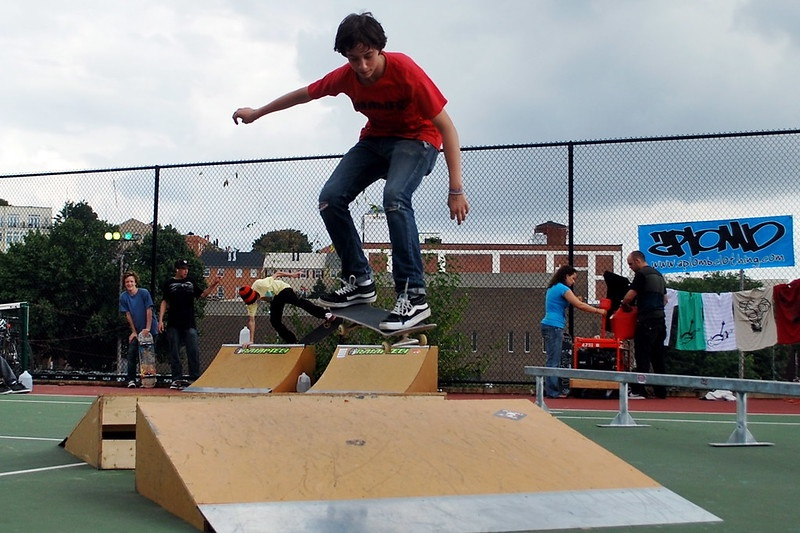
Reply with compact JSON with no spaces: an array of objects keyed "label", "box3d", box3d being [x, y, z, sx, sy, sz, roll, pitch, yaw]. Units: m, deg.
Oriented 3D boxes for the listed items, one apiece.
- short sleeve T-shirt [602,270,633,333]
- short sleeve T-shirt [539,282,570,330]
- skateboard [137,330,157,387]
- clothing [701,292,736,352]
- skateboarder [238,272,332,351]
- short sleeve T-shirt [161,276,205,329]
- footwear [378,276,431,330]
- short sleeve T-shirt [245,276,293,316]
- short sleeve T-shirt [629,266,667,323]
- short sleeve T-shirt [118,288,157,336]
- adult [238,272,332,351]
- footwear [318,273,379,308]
[{"label":"short sleeve T-shirt","box3d":[3.651,0.464,13.354,0.468,0.653,0.172,16,22,36]},{"label":"short sleeve T-shirt","box3d":[2.529,0.472,12.663,0.408,0.440,0.245,7,-27,35]},{"label":"skateboard","box3d":[-4.499,1.687,13.984,0.343,1.284,0.204,-6,9,-19]},{"label":"clothing","box3d":[5.256,0.927,12.955,0.556,0.986,0.303,2,5,19]},{"label":"skateboarder","box3d":[-1.887,0.718,12.575,1.637,0.890,1.107,11,-36,-40]},{"label":"short sleeve T-shirt","box3d":[-3.758,0.630,13.600,0.627,0.910,0.390,-1,5,-20]},{"label":"footwear","box3d":[-0.068,0.435,7.489,0.255,0.455,0.676,-6,1,45]},{"label":"short sleeve T-shirt","box3d":[-2.067,0.354,12.349,0.436,0.244,0.834,-36,-15,24]},{"label":"short sleeve T-shirt","box3d":[3.989,0.424,12.684,0.535,0.853,0.329,2,5,13]},{"label":"short sleeve T-shirt","box3d":[-4.572,0.765,13.566,0.554,0.758,0.363,0,5,-8]},{"label":"adult","box3d":[-1.900,0.715,12.561,1.609,0.910,1.099,11,-35,-40]},{"label":"footwear","box3d":[-0.472,0.261,7.654,0.696,0.343,0.235,2,-1,-14]}]
